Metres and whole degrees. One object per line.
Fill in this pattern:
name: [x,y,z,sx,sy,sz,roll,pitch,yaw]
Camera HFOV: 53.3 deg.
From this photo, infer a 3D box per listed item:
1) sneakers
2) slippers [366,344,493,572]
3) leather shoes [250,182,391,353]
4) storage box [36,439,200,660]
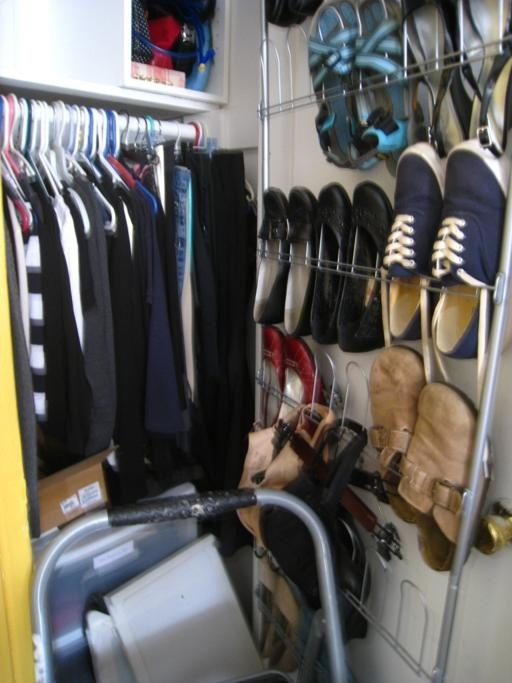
sneakers: [0.257,-0.128,0.712,0.124,0.288,0.187,-11,16,-43]
slippers: [0.271,0.141,0.795,0.068,0.346,0.155,-11,20,-25]
leather shoes: [0.131,-0.151,0.970,0.193,0.384,0.087,11,21,44]
storage box: [-0.307,0.524,1.191,0.159,0.315,0.390,10,18,41]
